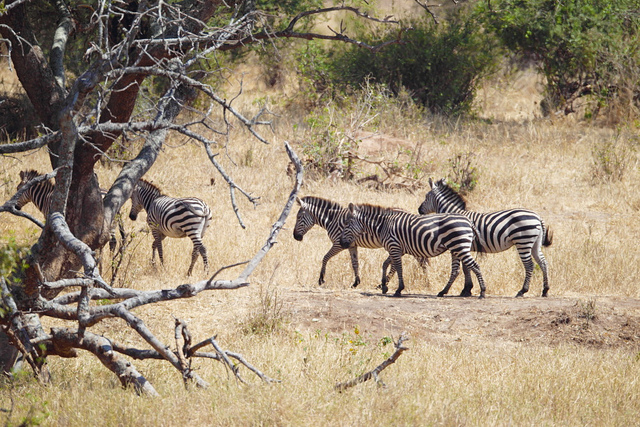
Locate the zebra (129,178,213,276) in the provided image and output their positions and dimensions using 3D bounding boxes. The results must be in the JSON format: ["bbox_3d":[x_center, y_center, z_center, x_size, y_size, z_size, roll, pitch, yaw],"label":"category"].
[{"bbox_3d":[-3.314,0.328,18.705,2.756,2.184,0.779,6,4,37],"label":"zebra"}]

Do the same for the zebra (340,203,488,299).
[{"bbox_3d":[2.066,0.788,18.400,3.231,2.319,0.927,0,14,15],"label":"zebra"}]

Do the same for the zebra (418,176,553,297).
[{"bbox_3d":[3.760,0.559,18.315,2.649,2.306,1.490,5,9,20],"label":"zebra"}]

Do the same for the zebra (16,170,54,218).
[{"bbox_3d":[-5.984,-0.355,17.501,0.726,0.972,3.730,-1,10,-18],"label":"zebra"}]

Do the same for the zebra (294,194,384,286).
[{"bbox_3d":[0.735,0.637,19.020,2.623,2.176,0.768,4,13,19],"label":"zebra"}]
